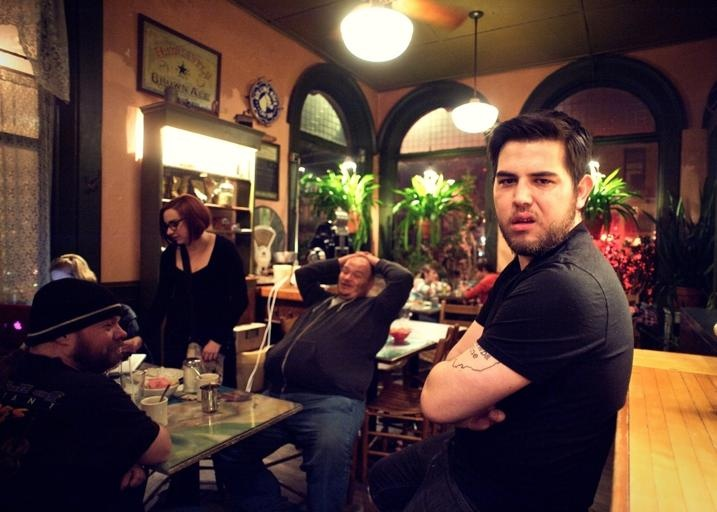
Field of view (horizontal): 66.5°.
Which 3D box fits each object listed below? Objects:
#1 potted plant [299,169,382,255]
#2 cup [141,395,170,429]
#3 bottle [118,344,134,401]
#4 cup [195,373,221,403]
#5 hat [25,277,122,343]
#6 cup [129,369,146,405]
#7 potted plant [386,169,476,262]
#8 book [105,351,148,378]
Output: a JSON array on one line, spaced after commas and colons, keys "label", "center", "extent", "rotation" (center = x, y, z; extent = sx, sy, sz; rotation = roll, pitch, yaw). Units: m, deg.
[{"label": "potted plant", "center": [-0.128, -0.692, 7.957], "extent": [1.181, 1.150, 1.126], "rotation": [-6, -6, 27]}, {"label": "cup", "center": [-1.049, 0.803, 2.833], "extent": [0.136, 0.127, 0.173], "rotation": [-2, -2, -3]}, {"label": "bottle", "center": [-1.354, 0.671, 3.189], "extent": [0.058, 0.329, 0.232], "rotation": [1, 0, -17]}, {"label": "cup", "center": [-0.854, 0.749, 3.114], "extent": [0.152, 0.116, 0.124], "rotation": [0, -2, 35]}, {"label": "hat", "center": [-1.339, 0.262, 2.637], "extent": [0.275, 0.221, 0.360], "rotation": [16, 7, 28]}, {"label": "cup", "center": [-1.222, 0.734, 3.019], "extent": [0.093, 0.143, 0.120], "rotation": [-15, -17, 31]}, {"label": "potted plant", "center": [0.979, -0.555, 8.196], "extent": [1.353, 0.955, 1.372], "rotation": [1, 1, 28]}, {"label": "book", "center": [-1.394, 0.661, 3.309], "extent": [0.221, 0.051, 0.219], "rotation": [-7, 4, -13]}]
